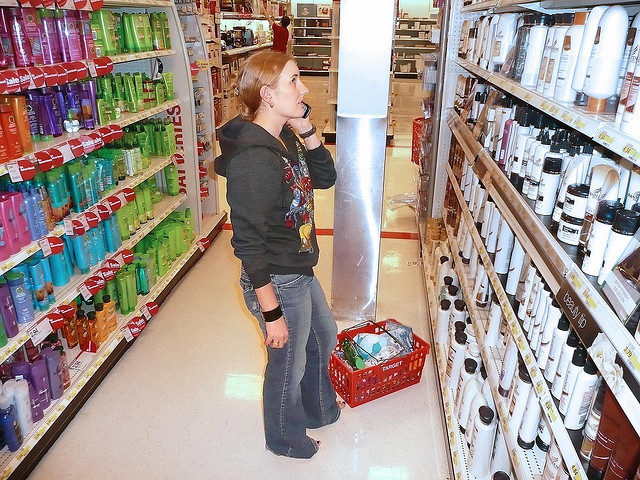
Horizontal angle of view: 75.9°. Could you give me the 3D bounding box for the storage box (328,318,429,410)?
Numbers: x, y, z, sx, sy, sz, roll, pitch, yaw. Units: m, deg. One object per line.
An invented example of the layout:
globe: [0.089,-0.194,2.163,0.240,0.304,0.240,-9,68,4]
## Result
storage box: [0.415,0.931,3.004,0.682,0.363,0.456,-18,35,-26]

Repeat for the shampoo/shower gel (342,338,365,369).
shampoo/shower gel: [0.230,0.780,2.818,0.108,0.035,0.191,31,24,-49]

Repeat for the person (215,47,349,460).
person: [-0.177,0.196,2.245,0.456,2.254,0.823,7,22,23]

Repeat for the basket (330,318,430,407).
basket: [0.434,0.935,3.013,0.684,0.359,0.455,-18,36,-27]
